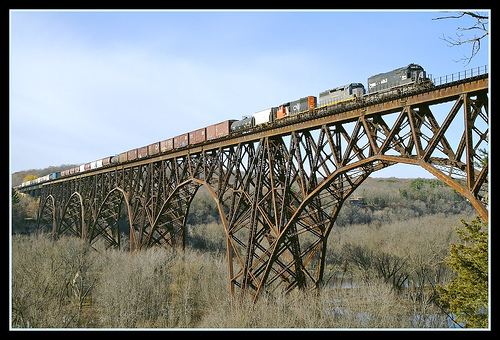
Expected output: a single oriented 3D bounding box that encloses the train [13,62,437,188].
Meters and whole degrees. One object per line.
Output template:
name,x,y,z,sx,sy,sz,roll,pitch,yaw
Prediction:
train,2.760,-3.644,51.544,44.706,0.770,2.678,-15,10,-39
